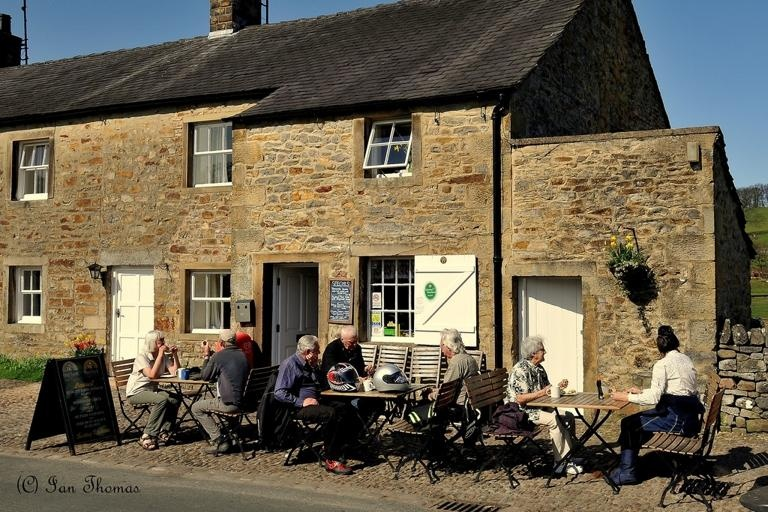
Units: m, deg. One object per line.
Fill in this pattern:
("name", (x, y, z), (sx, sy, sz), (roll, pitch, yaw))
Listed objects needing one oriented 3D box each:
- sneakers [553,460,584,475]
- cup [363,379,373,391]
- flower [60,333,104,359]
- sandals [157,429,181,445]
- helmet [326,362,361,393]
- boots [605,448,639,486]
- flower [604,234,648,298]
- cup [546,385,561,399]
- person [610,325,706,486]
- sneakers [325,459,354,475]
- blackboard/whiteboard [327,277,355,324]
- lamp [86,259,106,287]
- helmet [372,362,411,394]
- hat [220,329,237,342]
("sneakers", (2.729, 3.129, 14.214), (0.472, 0.198, 0.180), (-1, 0, -5))
("cup", (-0.235, 1.974, 14.747), (0.197, 0.183, 0.146), (-1, -3, 33))
("flower", (-6.167, 1.841, 19.751), (0.668, 0.430, 0.568), (2, -1, -29))
("sandals", (-3.488, 2.956, 15.602), (0.267, 0.066, 0.240), (2, 3, 17))
("helmet", (-0.618, 1.862, 14.683), (0.489, 0.350, 0.360), (0, -3, 14))
("boots", (3.456, 3.093, 14.001), (0.544, 0.495, 0.265), (-12, -14, 39))
("flower", (4.179, 0.122, 16.671), (0.452, 1.000, 0.769), (-18, -14, -3))
("cup", (2.495, 2.003, 14.136), (0.217, 0.146, 0.133), (-2, -4, 19))
("person", (3.938, 2.148, 13.771), (1.231, 2.285, 0.529), (-1, -7, 17))
("sneakers", (-0.682, 3.159, 14.390), (0.430, 0.157, 0.164), (0, -5, 20))
("blackboard/whiteboard", (-0.832, 0.856, 18.265), (0.532, 0.841, 0.145), (-3, -7, 29))
("lamp", (-6.180, 0.400, 20.750), (0.370, 0.512, 0.244), (2, -7, -15))
("helmet", (0.114, 1.861, 14.730), (0.535, 0.363, 0.363), (-4, 2, -5))
("hat", (-2.541, 1.250, 15.545), (0.241, 0.222, 0.169), (9, 5, -23))
